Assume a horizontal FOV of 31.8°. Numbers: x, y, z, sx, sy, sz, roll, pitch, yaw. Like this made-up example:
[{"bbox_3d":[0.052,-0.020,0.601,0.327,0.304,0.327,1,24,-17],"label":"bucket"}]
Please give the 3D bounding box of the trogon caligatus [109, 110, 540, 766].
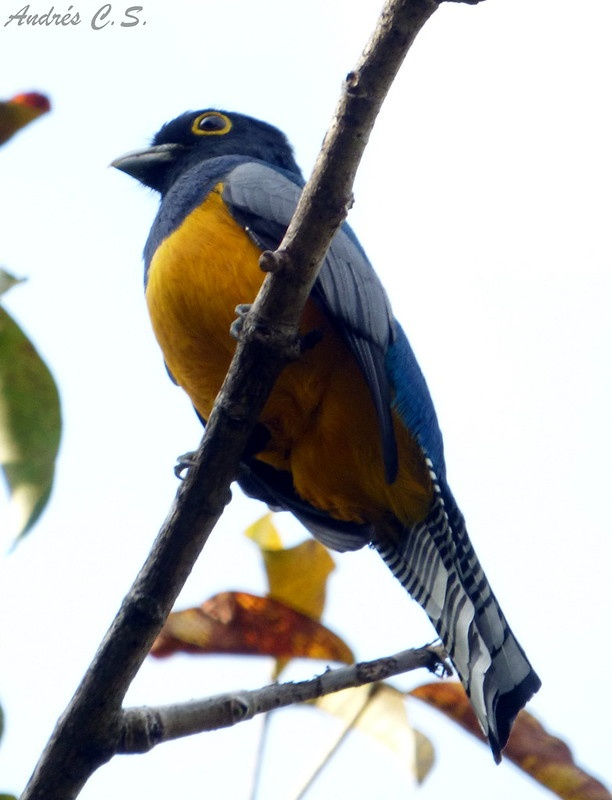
[{"bbox_3d":[0.014,0.223,3.542,1.663,1.790,0.816,19,-52,-2],"label":"trogon caligatus"}]
